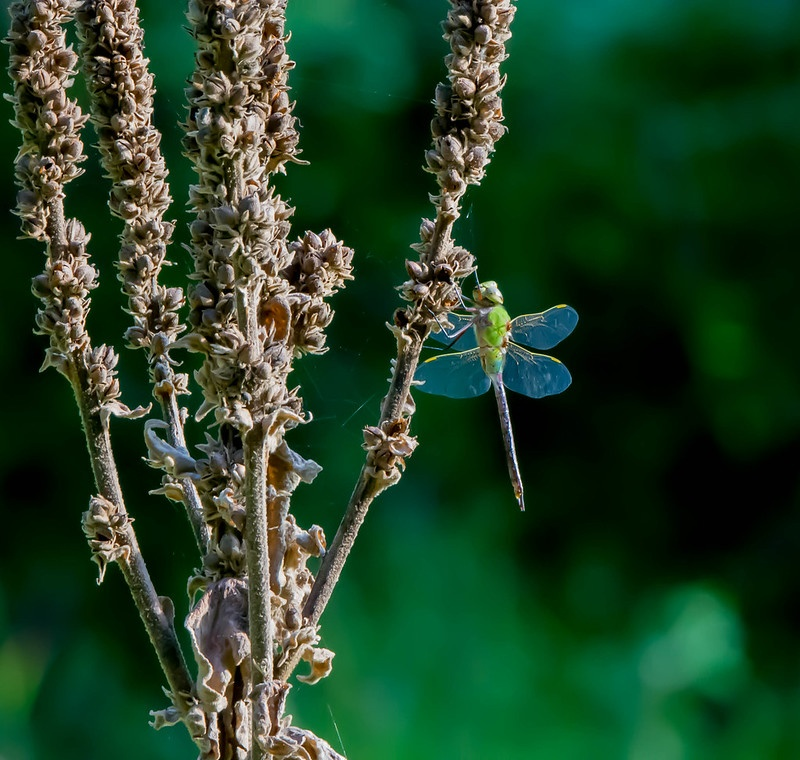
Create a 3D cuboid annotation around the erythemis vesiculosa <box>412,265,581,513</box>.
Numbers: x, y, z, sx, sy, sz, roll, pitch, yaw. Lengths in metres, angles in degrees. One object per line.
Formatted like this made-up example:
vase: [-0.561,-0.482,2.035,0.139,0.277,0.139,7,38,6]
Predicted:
erythemis vesiculosa: [0.170,0.005,2.377,0.302,0.392,0.159,-5,-28,-36]
